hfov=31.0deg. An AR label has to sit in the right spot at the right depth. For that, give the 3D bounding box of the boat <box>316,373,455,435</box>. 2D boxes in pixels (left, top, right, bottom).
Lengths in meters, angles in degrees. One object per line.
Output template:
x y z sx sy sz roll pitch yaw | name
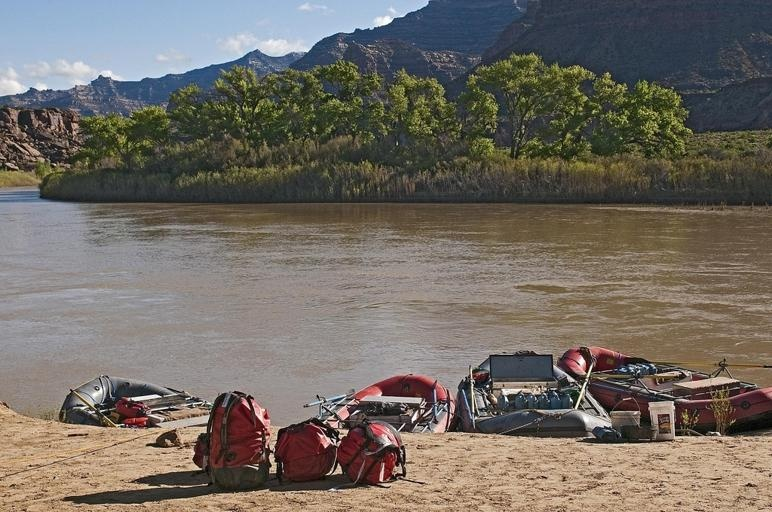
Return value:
0.486 11.218 102.090 9.447 3.915 8.940 0 8 0 | boat

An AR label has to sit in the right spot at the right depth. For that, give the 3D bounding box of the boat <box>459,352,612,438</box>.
9.934 10.105 104.731 7.141 2.795 8.445 -1 6 -3 | boat
